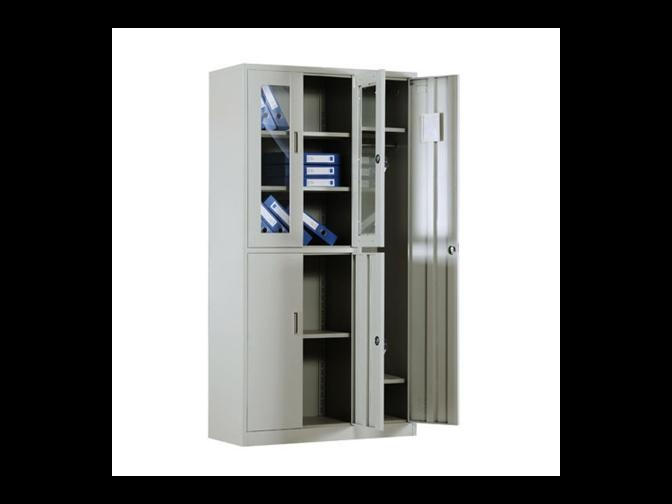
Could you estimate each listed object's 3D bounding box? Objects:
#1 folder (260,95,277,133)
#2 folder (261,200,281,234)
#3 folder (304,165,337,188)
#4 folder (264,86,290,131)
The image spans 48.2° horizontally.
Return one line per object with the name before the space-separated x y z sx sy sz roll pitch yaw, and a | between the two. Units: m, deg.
folder | -0.533 -1.057 5.782 0.046 0.199 0.202 -14 3 24
folder | -0.504 -0.276 5.781 0.045 0.209 0.144 -24 3 37
folder | -0.112 -0.596 6.055 0.213 0.179 0.231 -3 2 24
folder | -0.476 -1.120 5.804 0.067 0.316 0.275 -12 -34 28
